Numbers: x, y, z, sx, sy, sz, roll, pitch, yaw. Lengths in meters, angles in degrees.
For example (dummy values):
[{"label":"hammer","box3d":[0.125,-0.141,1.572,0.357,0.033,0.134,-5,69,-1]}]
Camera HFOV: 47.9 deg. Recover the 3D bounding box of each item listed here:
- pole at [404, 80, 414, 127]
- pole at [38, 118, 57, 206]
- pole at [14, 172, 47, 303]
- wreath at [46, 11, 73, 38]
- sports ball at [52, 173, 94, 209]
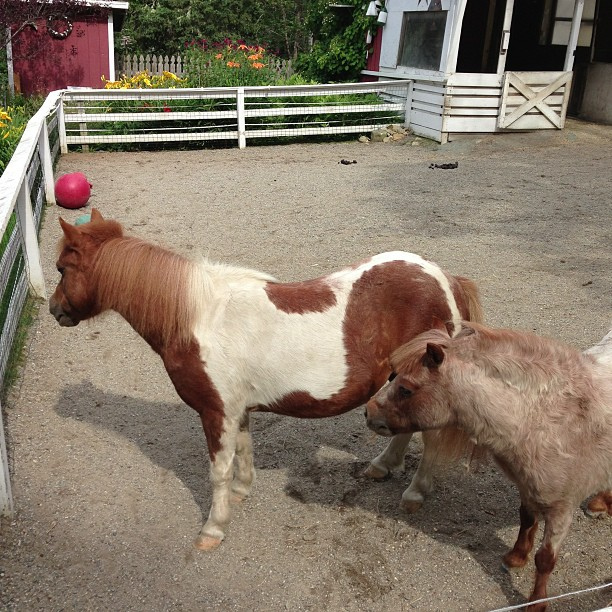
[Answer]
[{"label":"pole","box3d":[2.262,-4.458,15.219,0.105,1.001,0.285,-5,22,-16]},{"label":"pole","box3d":[-3.612,-1.964,9.509,0.165,1.612,0.139,18,56,-8]},{"label":"pole","box3d":[-2.470,-0.584,6.160,0.177,1.120,0.472,-8,23,-22]},{"label":"wreath","box3d":[-6.774,-7.647,18.985,0.724,0.525,0.595,-7,23,-20]},{"label":"sports ball","box3d":[-3.122,-1.603,9.160,0.530,0.479,0.496,5,34,-3]}]
